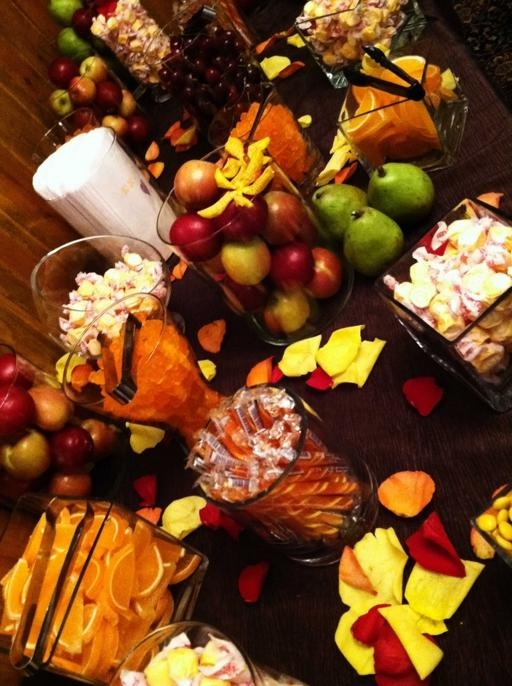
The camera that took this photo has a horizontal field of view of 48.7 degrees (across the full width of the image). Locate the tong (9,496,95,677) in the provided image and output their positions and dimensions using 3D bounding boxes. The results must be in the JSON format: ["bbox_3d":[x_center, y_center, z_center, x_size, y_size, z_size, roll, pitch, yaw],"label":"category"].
[{"bbox_3d":[-0.190,0.218,0.528,0.062,0.066,0.151,-11,58,21],"label":"tong"}]

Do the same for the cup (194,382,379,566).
[{"bbox_3d":[0.021,0.123,0.565,0.129,0.180,0.169,-43,53,0],"label":"cup"}]

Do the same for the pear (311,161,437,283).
[{"bbox_3d":[0.138,-0.159,0.701,0.165,0.130,0.137,-1,25,9],"label":"pear"}]
